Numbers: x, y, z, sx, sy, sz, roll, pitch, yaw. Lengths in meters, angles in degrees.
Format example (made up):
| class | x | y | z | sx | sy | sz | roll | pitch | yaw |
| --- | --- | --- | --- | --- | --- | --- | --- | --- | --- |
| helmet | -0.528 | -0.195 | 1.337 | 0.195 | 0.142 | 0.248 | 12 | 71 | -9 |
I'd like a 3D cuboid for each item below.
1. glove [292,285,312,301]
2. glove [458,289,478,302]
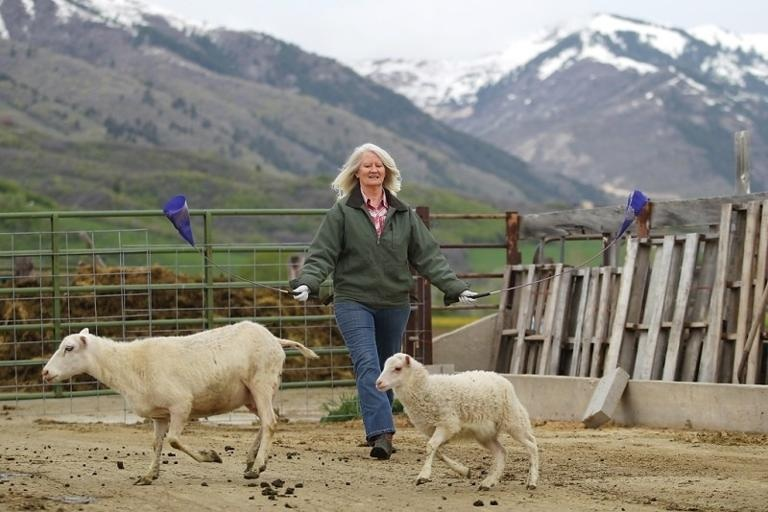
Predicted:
| class | x | y | z | sx | sy | sz | roll | pitch | yaw |
| --- | --- | --- | --- | --- | --- | --- | --- | --- | --- |
| glove | -2.638 | 1.163 | 57.366 | 0.415 | 0.515 | 0.513 | -4 | -3 | -36 |
| glove | 2.773 | 1.261 | 57.718 | 0.630 | 0.390 | 0.352 | 0 | -1 | 0 |
